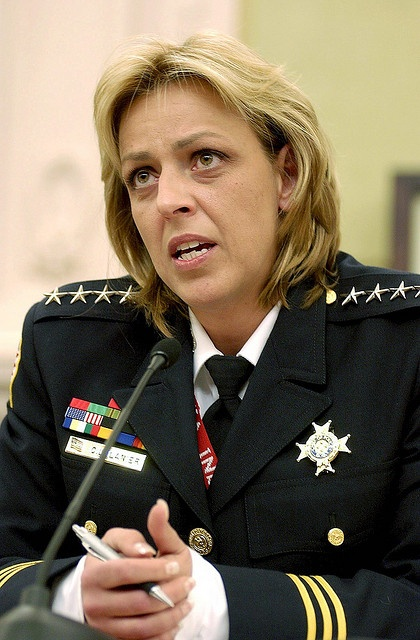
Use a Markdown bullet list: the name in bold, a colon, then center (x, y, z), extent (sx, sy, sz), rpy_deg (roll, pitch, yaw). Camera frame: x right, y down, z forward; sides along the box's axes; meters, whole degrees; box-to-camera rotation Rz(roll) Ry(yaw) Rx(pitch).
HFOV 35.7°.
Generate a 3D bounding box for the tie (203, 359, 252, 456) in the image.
- **tie**: center (0.041, 0.162, 1.213), extent (0.080, 0.173, 0.042), rpy_deg (4, -29, 19)
